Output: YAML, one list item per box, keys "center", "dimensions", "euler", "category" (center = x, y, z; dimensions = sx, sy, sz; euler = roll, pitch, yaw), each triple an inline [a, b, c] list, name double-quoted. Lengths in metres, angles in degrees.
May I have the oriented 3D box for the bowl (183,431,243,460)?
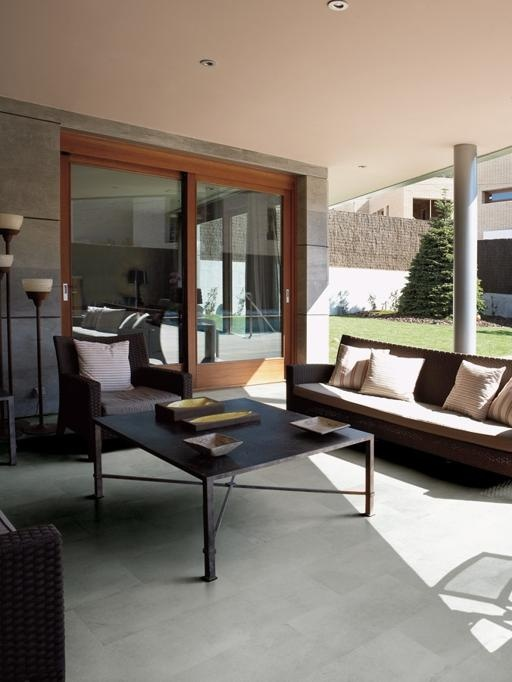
- center: [-0.184, 0.423, 2.307]
  dimensions: [0.226, 0.055, 0.356]
  euler: [0, 4, -5]
  category: "bowl"

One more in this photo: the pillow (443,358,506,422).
- center: [1.327, 0.299, 3.328]
  dimensions: [0.102, 0.298, 0.321]
  euler: [24, 2, -20]
  category: "pillow"

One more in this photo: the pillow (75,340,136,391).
- center: [-1.144, 0.197, 4.103]
  dimensions: [0.444, 0.409, 0.163]
  euler: [-2, 1, -40]
  category: "pillow"

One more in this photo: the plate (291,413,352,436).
- center: [0.345, 0.432, 2.851]
  dimensions: [0.194, 0.037, 0.197]
  euler: [4, 7, 41]
  category: "plate"

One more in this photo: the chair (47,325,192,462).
- center: [-1.003, 0.349, 3.955]
  dimensions: [0.891, 0.705, 0.849]
  euler: [9, 10, 37]
  category: "chair"

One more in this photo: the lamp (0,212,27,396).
- center: [-1.950, -0.265, 4.328]
  dimensions: [0.208, 1.450, 0.733]
  euler: [-2, 4, -21]
  category: "lamp"
